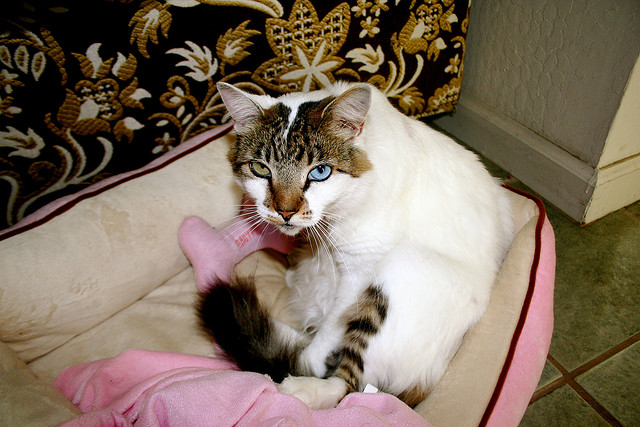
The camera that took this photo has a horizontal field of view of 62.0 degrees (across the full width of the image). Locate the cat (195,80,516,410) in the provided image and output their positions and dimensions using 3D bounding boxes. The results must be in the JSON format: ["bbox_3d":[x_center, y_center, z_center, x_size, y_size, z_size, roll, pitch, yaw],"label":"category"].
[{"bbox_3d":[0.147,-0.017,1.902,1.040,1.005,1.236,-4,22,8],"label":"cat"}]
